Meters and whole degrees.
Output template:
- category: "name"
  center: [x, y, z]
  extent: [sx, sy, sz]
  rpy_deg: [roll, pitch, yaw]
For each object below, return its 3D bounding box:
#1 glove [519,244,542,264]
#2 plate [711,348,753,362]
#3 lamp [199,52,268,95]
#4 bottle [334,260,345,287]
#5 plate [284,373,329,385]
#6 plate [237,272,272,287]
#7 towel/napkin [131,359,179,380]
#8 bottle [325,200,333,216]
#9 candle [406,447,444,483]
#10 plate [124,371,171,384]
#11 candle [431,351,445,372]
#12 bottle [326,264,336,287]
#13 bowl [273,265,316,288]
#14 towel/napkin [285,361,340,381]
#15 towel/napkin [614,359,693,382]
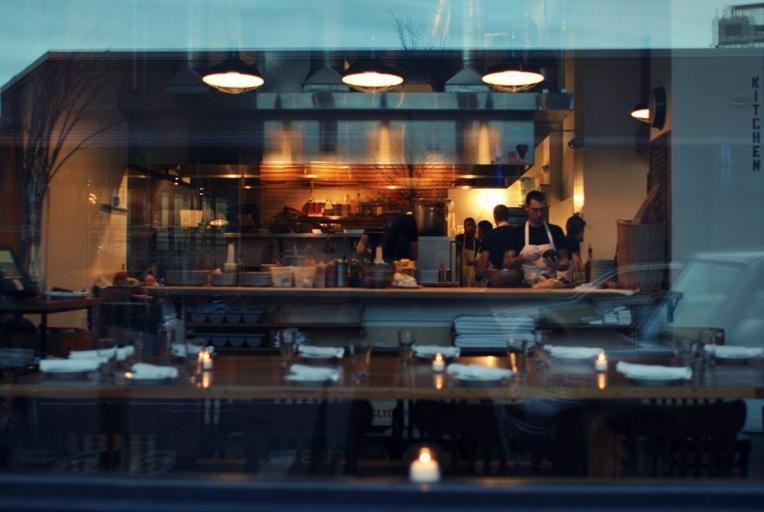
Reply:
- category: "glove"
  center: [0.996, -0.019, 7.492]
  extent: [0.132, 0.115, 0.103]
  rpy_deg: [-1, -8, 25]
- category: "plate"
  center: [1.938, 0.534, 6.127]
  extent: [0.187, 0.036, 0.108]
  rpy_deg: [3, 3, 9]
- category: "lamp"
  center: [-0.986, -1.181, 7.145]
  extent: [0.272, 0.100, 0.260]
  rpy_deg: [-4, -6, 27]
- category: "bottle"
  center: [-0.292, 0.115, 7.605]
  extent: [0.066, 0.171, 0.081]
  rpy_deg: [-2, 7, 0]
- category: "plate"
  center: [-0.407, 0.651, 5.902]
  extent: [0.242, 0.042, 0.075]
  rpy_deg: [0, 6, 10]
- category: "plate"
  center: [-0.904, 0.157, 7.748]
  extent: [0.188, 0.071, 0.122]
  rpy_deg: [1, 1, 2]
- category: "towel/napkin"
  center: [-1.222, 0.599, 5.894]
  extent: [0.197, 0.057, 0.102]
  rpy_deg: [2, 7, -3]
- category: "bottle"
  center: [-0.499, -0.447, 10.177]
  extent: [0.083, 0.125, 0.131]
  rpy_deg: [-2, 6, -2]
- category: "candle"
  center: [0.189, 0.949, 5.027]
  extent: [0.142, 0.116, 0.167]
  rpy_deg: [-1, 6, 1]
- category: "plate"
  center: [-1.223, 0.628, 5.872]
  extent: [0.184, 0.053, 0.095]
  rpy_deg: [1, 3, 1]
- category: "candle"
  center: [0.306, 0.587, 6.152]
  extent: [0.100, 0.089, 0.089]
  rpy_deg: [0, -5, 2]
- category: "bottle"
  center: [-0.359, 0.126, 7.613]
  extent: [0.080, 0.151, 0.049]
  rpy_deg: [-1, 7, 6]
- category: "bowl"
  center: [-0.628, 0.139, 7.695]
  extent: [0.348, 0.144, 0.105]
  rpy_deg: [3, 8, 33]
- category: "towel/napkin"
  center: [-0.364, 0.616, 5.921]
  extent: [0.185, 0.030, 0.119]
  rpy_deg: [4, 16, -3]
- category: "towel/napkin"
  center: [1.448, 0.614, 5.893]
  extent: [0.298, 0.052, 0.140]
  rpy_deg: [11, 20, 10]
